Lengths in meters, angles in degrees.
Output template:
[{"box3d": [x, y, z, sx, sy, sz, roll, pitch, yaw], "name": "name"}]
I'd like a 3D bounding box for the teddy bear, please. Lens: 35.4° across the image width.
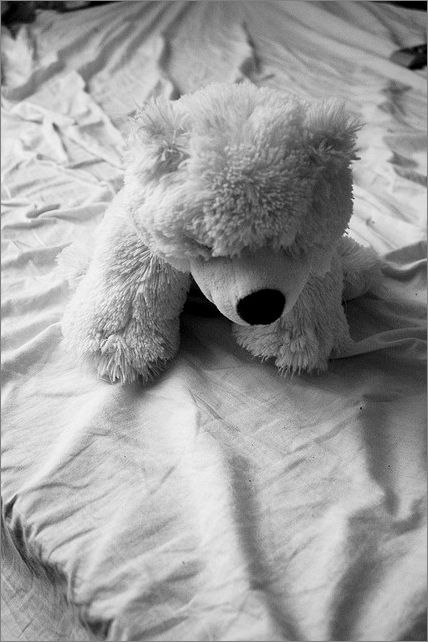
[{"box3d": [-0.002, -0.111, 0.805, 0.431, 0.298, 0.339, 4, 32, 4], "name": "teddy bear"}]
